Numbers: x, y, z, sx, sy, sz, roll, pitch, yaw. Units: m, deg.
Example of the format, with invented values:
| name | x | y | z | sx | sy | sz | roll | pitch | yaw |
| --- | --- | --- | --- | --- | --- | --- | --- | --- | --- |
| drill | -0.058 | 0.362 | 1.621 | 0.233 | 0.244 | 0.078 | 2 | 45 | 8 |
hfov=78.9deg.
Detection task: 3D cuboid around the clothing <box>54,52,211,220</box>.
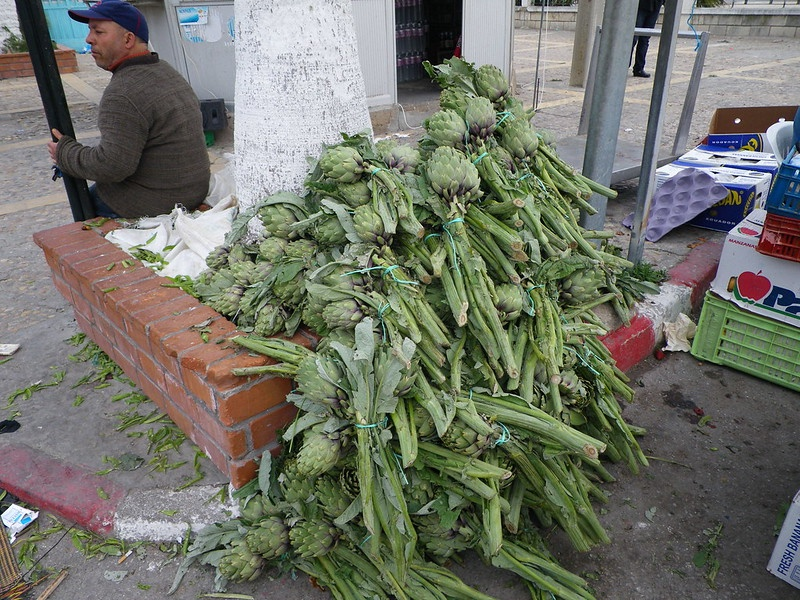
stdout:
| name | x | y | z | sx | sy | sz | roll | pitch | yaw |
| --- | --- | --- | --- | --- | --- | --- | --- | --- | --- |
| clothing | -1.857 | -1.079 | 3.443 | 0.921 | 0.978 | 0.394 | -23 | 37 | -32 |
